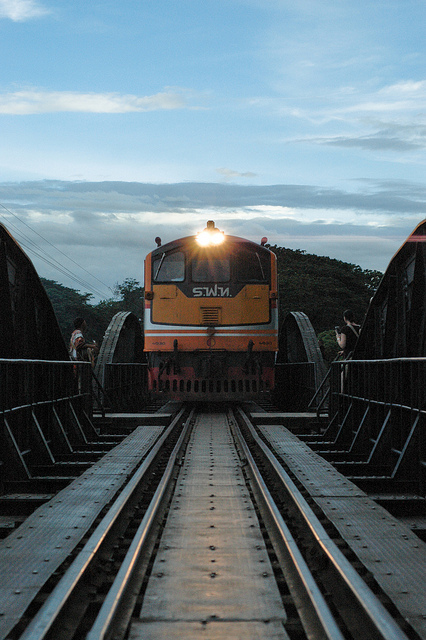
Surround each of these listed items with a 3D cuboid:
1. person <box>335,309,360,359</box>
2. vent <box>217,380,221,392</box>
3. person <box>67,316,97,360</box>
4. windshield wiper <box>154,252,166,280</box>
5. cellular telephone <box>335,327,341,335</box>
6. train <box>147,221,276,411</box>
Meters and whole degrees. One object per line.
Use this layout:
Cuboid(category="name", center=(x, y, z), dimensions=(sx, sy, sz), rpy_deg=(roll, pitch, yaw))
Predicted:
Cuboid(category="person", center=(2.703, 0.239, 9.696), dimensions=(0.444, 1.031, 1.097), rpy_deg=(3, -6, 17))
Cuboid(category="vent", center=(0.162, 1.767, 12.872), dimensions=(0.118, 0.298, 0.043), rpy_deg=(4, -5, 3))
Cuboid(category="person", center=(-2.683, 0.375, 9.712), dimensions=(0.361, 0.835, 0.644), rpy_deg=(4, -5, 1))
Cuboid(category="windshield wiper", center=(-1.436, -1.487, 13.362), dimensions=(0.068, 0.774, 0.100), rpy_deg=(16, -14, 14))
Cuboid(category="cellular telephone", center=(2.485, 0.213, 9.582), dimensions=(0.053, 0.181, 0.120), rpy_deg=(-14, 12, 0))
Cuboid(category="train", center=(0.049, 2.294, 17.136), dimensions=(3.641, 5.431, 10.159), rpy_deg=(0, -30, 0))
